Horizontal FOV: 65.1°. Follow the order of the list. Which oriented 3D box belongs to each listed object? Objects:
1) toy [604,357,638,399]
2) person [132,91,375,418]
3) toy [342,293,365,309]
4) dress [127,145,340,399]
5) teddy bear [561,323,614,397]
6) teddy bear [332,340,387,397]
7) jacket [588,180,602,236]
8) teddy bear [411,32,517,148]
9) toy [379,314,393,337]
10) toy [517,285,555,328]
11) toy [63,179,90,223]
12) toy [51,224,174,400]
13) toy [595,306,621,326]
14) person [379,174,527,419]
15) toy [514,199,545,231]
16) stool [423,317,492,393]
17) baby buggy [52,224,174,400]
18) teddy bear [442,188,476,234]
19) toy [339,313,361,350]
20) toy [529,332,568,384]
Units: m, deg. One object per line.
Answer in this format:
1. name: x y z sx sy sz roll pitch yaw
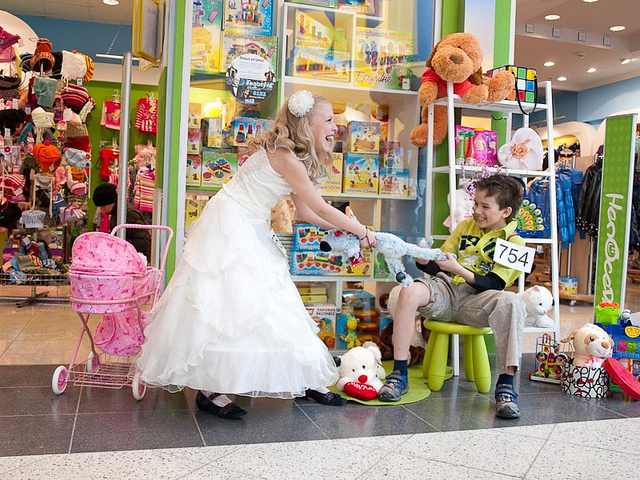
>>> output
1. toy: 1.775 0.801 2.963 0.174 0.205 0.248 4 5 31
2. person: -0.337 0.025 2.620 1.064 1.603 0.891 4 11 -2
3. toy: 0.238 0.446 3.643 0.119 0.045 0.088 2 -7 -16
4. dress: -0.403 0.140 2.497 0.969 1.225 0.444 0 4 -18
5. teddy bear: 1.611 0.719 3.027 0.268 0.427 0.279 8 -7 -20
6. teddy bear: 0.227 0.720 3.001 0.300 0.245 0.432 -1 20 -5
7. jacket: 3.354 -0.359 6.133 0.083 0.633 0.366 4 5 27
8. teddy bear: 1.047 -1.047 3.588 0.645 0.740 0.810 7 3 16
9. toy: 0.460 0.599 3.509 0.085 0.145 0.127 2 4 7
10. toy: 1.377 0.427 3.183 0.247 0.281 0.186 3 4 14
11. toy: -2.801 -0.511 5.638 0.352 0.172 0.406 8 -29 -33
12. toy: -1.187 0.315 2.863 0.675 1.127 0.690 1 10 -26
13. toy: 1.811 0.486 3.156 0.116 0.086 0.119 4 -11 -9
14. person: 0.806 0.255 2.850 0.685 1.269 0.650 3 4 21
15. toy: 1.449 -0.172 3.460 0.163 0.216 0.334 4 5 30
16. stool: 0.826 0.677 3.011 0.413 0.431 0.373 3 4 11
17. baby buggy: -1.137 0.376 2.801 0.498 0.868 0.642 1 4 -2
18. teddy bear: 0.921 -0.195 3.296 0.241 0.350 0.188 6 -24 -2
19. toy: 0.206 0.620 3.486 0.155 0.265 0.124 -6 16 -44
20. toy: 1.481 0.773 3.297 0.262 0.308 0.279 3 6 13
